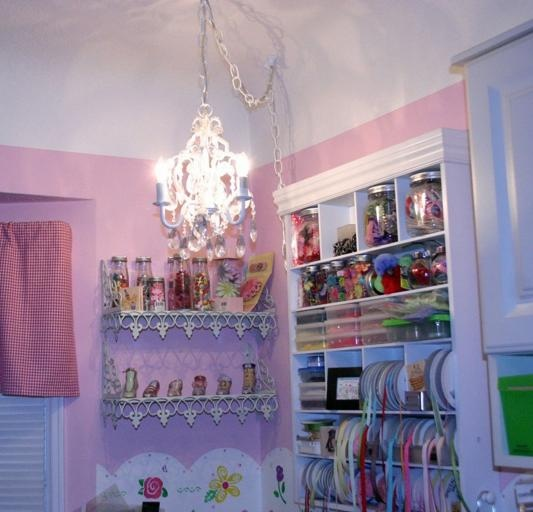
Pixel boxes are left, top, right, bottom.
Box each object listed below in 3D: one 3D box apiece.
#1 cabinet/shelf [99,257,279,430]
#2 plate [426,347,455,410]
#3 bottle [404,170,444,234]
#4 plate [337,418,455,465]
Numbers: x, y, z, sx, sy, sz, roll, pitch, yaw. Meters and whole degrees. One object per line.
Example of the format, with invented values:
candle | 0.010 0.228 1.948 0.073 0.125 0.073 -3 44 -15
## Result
cabinet/shelf | -0.514 0.547 3.390 0.877 1.015 0.303 3 -13 -21
plate | 0.743 0.529 2.307 0.119 0.254 0.129 -6 -9 17
bottle | 0.713 -0.244 2.442 0.156 0.265 0.237 1 -7 -7
plate | 0.574 0.855 2.497 0.217 0.207 0.671 4 -13 -39
